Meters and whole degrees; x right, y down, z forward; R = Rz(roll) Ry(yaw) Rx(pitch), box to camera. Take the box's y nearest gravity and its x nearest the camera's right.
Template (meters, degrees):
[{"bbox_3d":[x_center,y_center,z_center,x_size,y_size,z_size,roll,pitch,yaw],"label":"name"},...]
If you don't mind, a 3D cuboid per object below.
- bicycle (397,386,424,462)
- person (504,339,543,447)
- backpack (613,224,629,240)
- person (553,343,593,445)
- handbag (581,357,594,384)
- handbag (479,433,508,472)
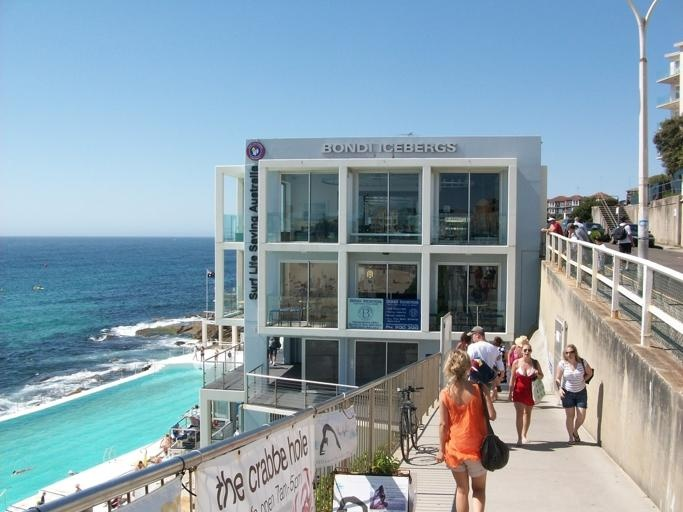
[{"bbox_3d":[1.221,2.968,11.170,0.344,1.075,1.348,-3,2,5],"label":"bicycle"},{"bbox_3d":[3.524,2.544,11.596,0.592,1.762,1.348,-3,3,15],"label":"person"},{"bbox_3d":[8.444,-0.734,18.499,0.455,0.437,0.334,26,-16,-12],"label":"backpack"},{"bbox_3d":[4.266,2.458,11.076,0.585,1.766,0.308,-3,3,21],"label":"person"},{"bbox_3d":[4.490,2.066,11.101,0.232,0.430,0.344,-6,22,8],"label":"handbag"},{"bbox_3d":[1.967,2.473,7.759,0.342,0.467,0.221,-4,3,-15],"label":"handbag"}]
